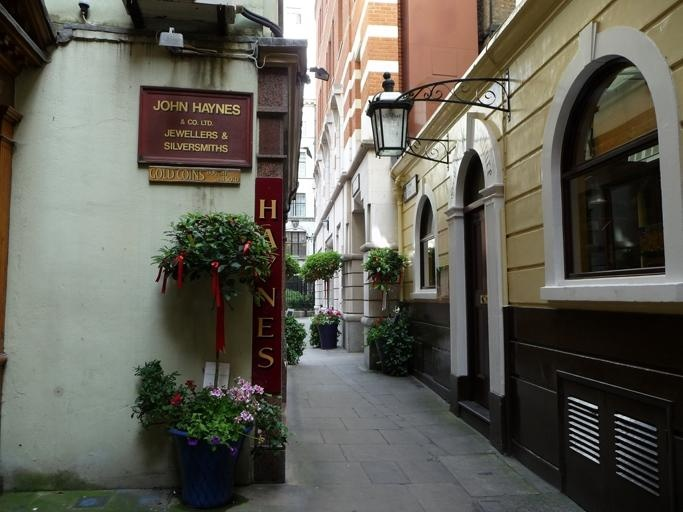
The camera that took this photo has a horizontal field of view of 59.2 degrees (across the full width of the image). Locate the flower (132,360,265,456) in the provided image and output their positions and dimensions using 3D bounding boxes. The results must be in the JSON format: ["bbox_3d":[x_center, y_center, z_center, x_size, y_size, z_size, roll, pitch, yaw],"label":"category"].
[{"bbox_3d":[-1.473,1.467,6.272,0.989,0.641,0.769,10,-1,-5],"label":"flower"}]

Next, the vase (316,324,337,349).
[{"bbox_3d":[-0.449,2.532,19.091,0.677,0.746,0.665,2,-2,-23],"label":"vase"}]

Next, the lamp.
[{"bbox_3d":[1.498,-2.142,9.292,2.230,1.318,0.527,-2,1,-17],"label":"lamp"}]

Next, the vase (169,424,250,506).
[{"bbox_3d":[-1.381,2.101,6.178,0.687,0.635,0.714,-10,-15,39],"label":"vase"}]

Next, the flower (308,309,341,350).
[{"bbox_3d":[-0.451,2.265,19.217,0.858,1.019,0.705,3,-4,-29],"label":"flower"}]

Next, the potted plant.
[{"bbox_3d":[1.195,1.800,12.933,0.591,1.502,1.413,4,-5,-39],"label":"potted plant"}]
